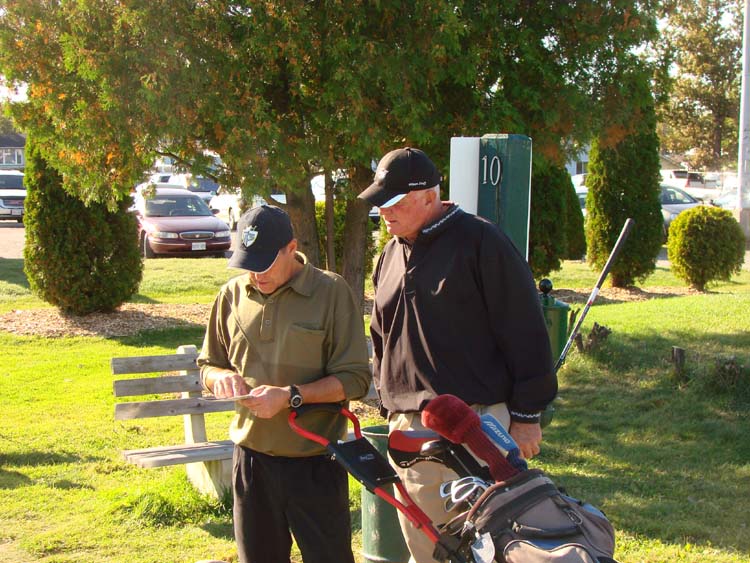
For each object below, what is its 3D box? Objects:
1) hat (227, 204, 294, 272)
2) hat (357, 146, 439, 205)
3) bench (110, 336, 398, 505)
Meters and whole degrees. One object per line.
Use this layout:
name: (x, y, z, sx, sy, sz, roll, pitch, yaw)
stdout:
hat: (-0.773, -0.304, 5.841, 0.375, 0.367, 0.619, 3, 23, 24)
hat: (0.152, -0.684, 5.849, 0.589, 0.422, 0.425, -7, 9, -21)
bench: (-1.270, 1.363, 8.313, 1.949, 1.175, 0.868, -7, 5, -29)
